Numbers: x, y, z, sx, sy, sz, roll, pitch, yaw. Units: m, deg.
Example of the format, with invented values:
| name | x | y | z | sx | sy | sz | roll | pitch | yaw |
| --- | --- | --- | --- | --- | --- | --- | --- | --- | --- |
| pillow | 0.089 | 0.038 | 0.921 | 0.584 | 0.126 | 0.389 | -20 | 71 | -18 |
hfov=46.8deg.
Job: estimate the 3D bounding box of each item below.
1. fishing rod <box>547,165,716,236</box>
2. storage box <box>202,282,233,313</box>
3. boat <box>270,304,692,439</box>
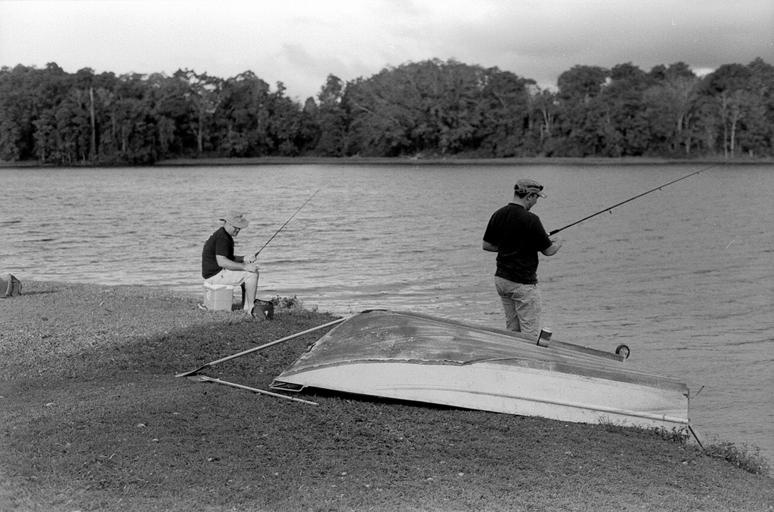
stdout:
| name | x | y | z | sx | sy | sz | roll | pitch | yaw |
| --- | --- | --- | --- | --- | --- | --- | --- | --- | --- |
| fishing rod | 6.145 | -1.431 | 21.532 | 6.051 | 0.256 | 0.102 | -22 | 0 | -30 |
| storage box | -3.302 | 0.774 | 17.359 | 0.518 | 0.495 | 0.756 | -2 | 6 | -29 |
| boat | 1.496 | 1.718 | 13.297 | 4.458 | 0.733 | 2.467 | 5 | 1 | -3 |
